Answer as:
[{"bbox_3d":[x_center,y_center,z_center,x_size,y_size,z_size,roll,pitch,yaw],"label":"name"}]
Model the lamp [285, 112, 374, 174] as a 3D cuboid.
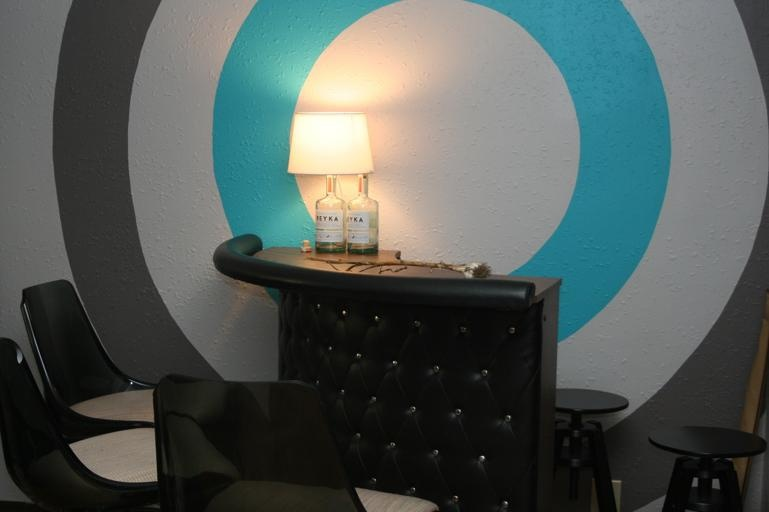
[{"bbox_3d":[-0.288,-0.612,3.300,0.477,0.339,0.309,-1,21,-6],"label":"lamp"}]
